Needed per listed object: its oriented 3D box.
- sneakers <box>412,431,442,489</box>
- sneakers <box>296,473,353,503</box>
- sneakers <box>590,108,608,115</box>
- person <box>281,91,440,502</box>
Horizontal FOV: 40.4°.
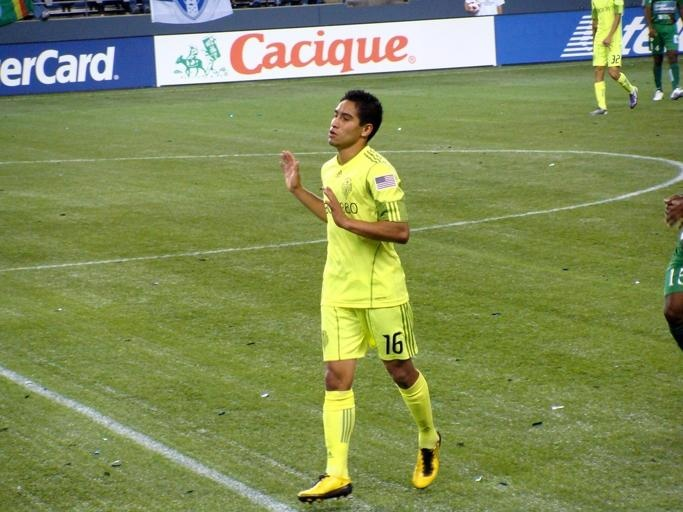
[{"bbox_3d":[0.549,1.355,6.086,0.171,0.324,0.155,13,-13,14],"label":"sneakers"},{"bbox_3d":[-0.132,1.456,5.839,0.443,0.150,0.131,0,-26,-8],"label":"sneakers"},{"bbox_3d":[4.957,-2.795,18.052,0.455,0.116,0.127,1,1,-14],"label":"sneakers"},{"bbox_3d":[0.148,0.224,6.067,0.944,2.600,1.095,-3,13,-2],"label":"person"}]
